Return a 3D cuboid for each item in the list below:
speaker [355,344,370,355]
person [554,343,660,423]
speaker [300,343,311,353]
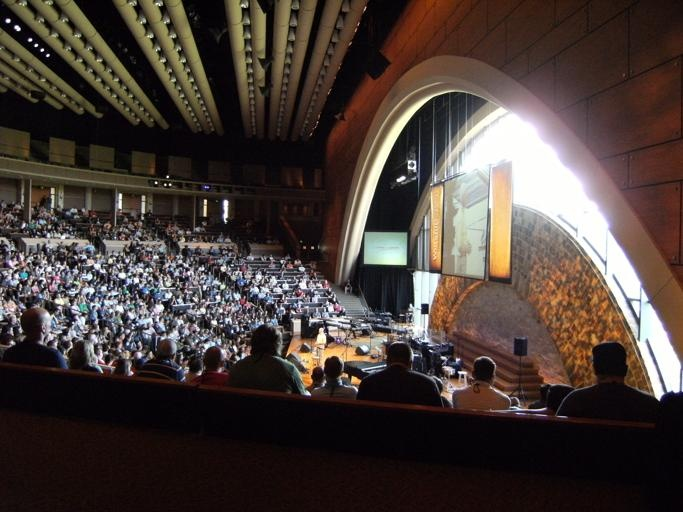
[{"bbox_3d":[0.602,2.641,14.878,0.311,0.366,0.362,8,-13,-3],"label":"speaker"},{"bbox_3d":[2.495,1.233,5.011,0.920,0.760,0.483,-3,-21,28],"label":"person"},{"bbox_3d":[-1.021,2.711,15.604,0.269,0.325,0.303,-1,5,-6],"label":"speaker"}]
